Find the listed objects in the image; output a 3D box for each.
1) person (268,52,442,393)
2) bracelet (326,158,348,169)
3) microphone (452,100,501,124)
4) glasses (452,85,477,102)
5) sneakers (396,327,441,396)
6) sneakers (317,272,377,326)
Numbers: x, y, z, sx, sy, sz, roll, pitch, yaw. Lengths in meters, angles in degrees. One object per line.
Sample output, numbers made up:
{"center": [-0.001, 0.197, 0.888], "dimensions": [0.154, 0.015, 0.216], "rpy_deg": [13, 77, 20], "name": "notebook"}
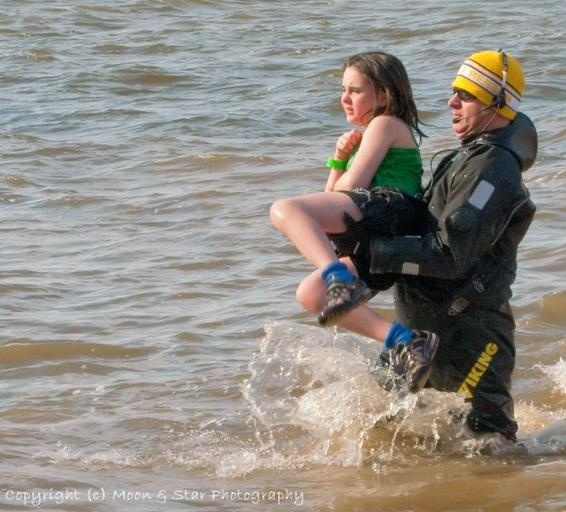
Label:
{"center": [0.477, -0.192, 5.804], "dimensions": [1.024, 2.068, 1.455], "rpy_deg": [5, 15, 7], "name": "person"}
{"center": [0.347, -0.603, 6.391], "dimensions": [0.113, 0.039, 0.102], "rpy_deg": [8, 4, -23], "name": "bracelet"}
{"center": [1.164, -0.877, 6.016], "dimensions": [0.327, 0.113, 0.181], "rpy_deg": [8, 10, -6], "name": "microphone"}
{"center": [1.157, -1.000, 6.040], "dimensions": [0.147, 0.028, 0.116], "rpy_deg": [9, 11, -27], "name": "glasses"}
{"center": [0.741, 0.589, 5.436], "dimensions": [0.252, 0.134, 0.431], "rpy_deg": [11, 23, 1], "name": "sneakers"}
{"center": [0.301, 0.245, 5.276], "dimensions": [0.409, 0.169, 0.153], "rpy_deg": [-29, -12, -44], "name": "sneakers"}
